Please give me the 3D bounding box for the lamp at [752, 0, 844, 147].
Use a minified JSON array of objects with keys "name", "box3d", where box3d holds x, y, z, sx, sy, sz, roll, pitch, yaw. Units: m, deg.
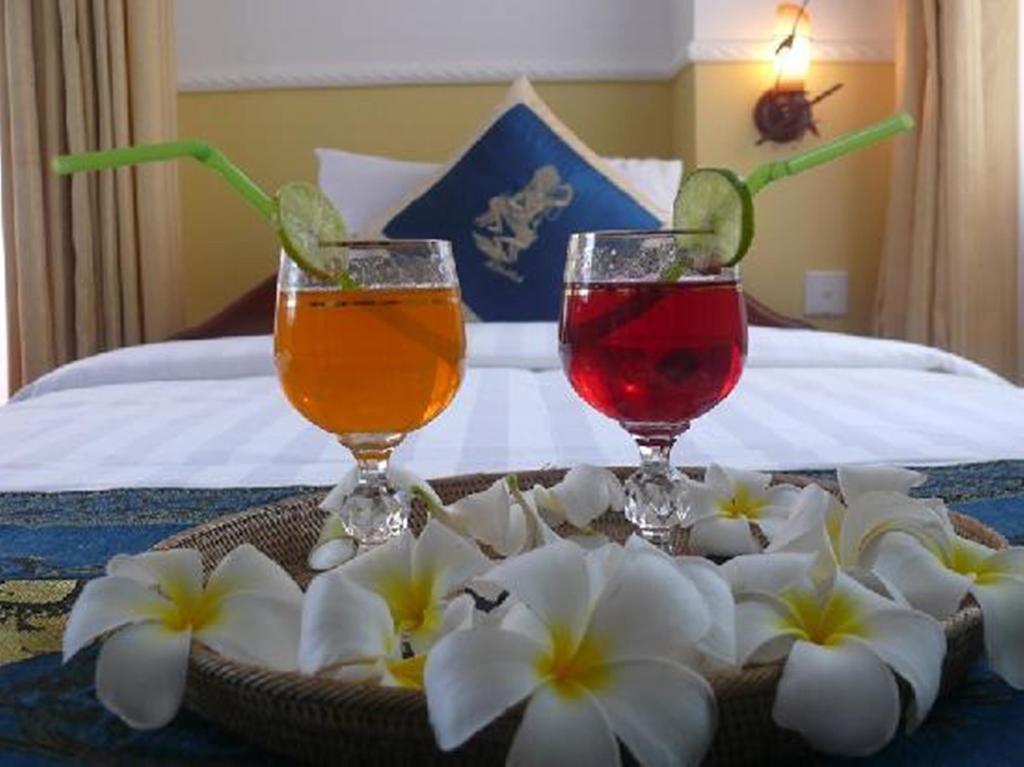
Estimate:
[{"name":"lamp","box3d":[0.993,-1.028,2.914,0.269,0.443,0.171,-2,11,-26]}]
